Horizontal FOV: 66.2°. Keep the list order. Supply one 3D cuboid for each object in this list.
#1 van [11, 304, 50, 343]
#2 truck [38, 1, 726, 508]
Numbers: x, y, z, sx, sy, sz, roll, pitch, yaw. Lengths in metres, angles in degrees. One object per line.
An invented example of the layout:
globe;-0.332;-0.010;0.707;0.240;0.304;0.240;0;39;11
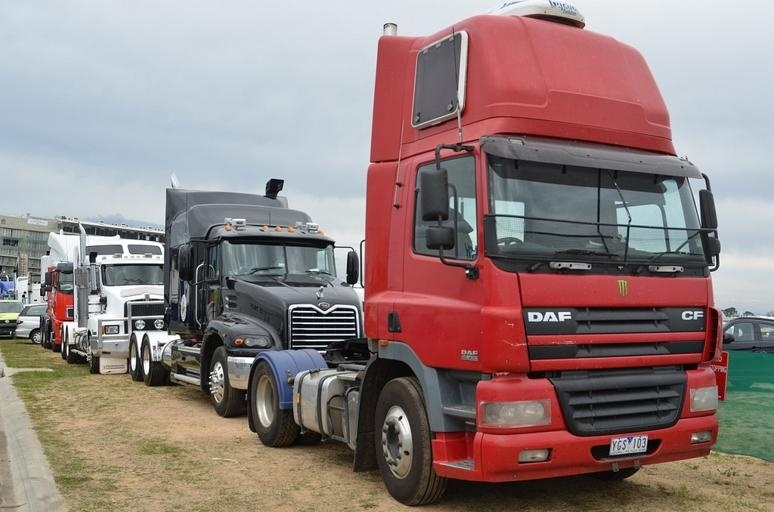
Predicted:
van;-19.693;3.761;32.450;2.061;1.808;3.562;1;2;-18
truck;0.049;0.251;12.029;4.670;5.886;13.053;1;-3;-31
